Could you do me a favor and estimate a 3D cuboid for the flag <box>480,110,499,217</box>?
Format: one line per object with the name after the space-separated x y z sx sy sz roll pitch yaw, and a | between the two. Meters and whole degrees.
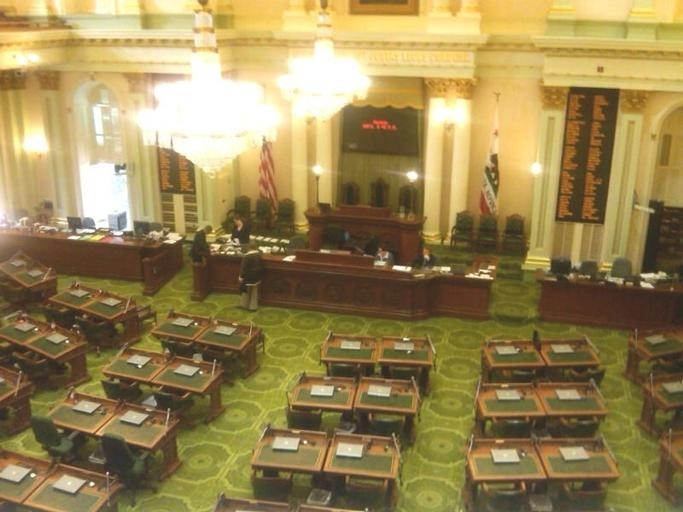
4.149 -2.526 15.444 0.461 2.731 0.771 6 7 13 | flag
